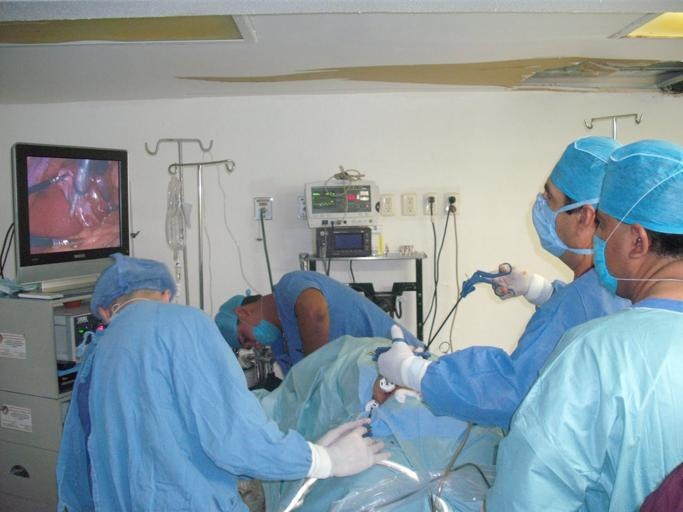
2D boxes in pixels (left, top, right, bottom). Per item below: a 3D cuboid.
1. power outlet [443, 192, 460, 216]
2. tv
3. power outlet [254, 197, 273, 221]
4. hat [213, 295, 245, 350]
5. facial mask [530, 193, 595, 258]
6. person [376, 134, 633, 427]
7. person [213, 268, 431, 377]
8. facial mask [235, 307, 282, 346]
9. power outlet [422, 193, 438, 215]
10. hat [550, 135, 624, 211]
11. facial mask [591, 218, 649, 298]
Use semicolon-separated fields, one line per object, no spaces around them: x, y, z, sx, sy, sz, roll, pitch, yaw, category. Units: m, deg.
0.803;-0.390;4.696;0.153;0.223;0.022;0;-2;-2;power outlet
-1.385;-0.189;3.251;0.089;0.762;0.717;4;6;30;tv
-0.574;-0.348;4.763;0.124;0.175;0.118;-5;6;-39;power outlet
-0.581;0.346;3.348;0.181;0.244;0.157;17;-9;-22;hat
0.832;-0.127;2.466;0.215;0.156;0.199;16;24;23;facial mask
0.746;-0.003;3.163;1.092;0.973;0.628;-32;49;-31;person
-0.046;0.340;3.310;1.044;0.642;0.476;-13;1;22;person
-0.439;0.355;3.282;0.164;0.172;0.209;5;5;-43;facial mask
0.648;-0.391;4.700;0.137;0.218;0.106;0;-4;0;power outlet
0.888;-0.309;2.418;0.233;0.194;0.230;33;44;30;hat
0.853;-0.006;2.014;0.201;0.181;0.175;36;21;34;facial mask
